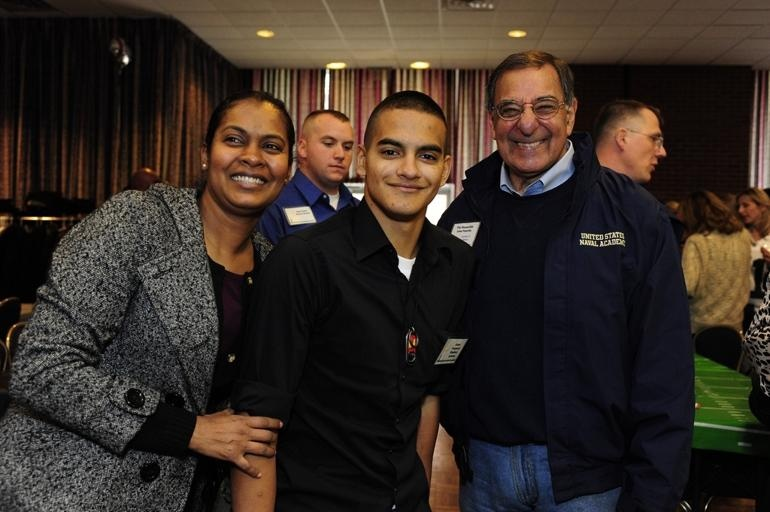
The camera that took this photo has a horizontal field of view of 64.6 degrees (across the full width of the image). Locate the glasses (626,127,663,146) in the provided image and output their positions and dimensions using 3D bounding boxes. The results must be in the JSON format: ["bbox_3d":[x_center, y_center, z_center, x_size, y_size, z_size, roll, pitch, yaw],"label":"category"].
[{"bbox_3d":[1.587,-0.738,3.742,0.145,0.045,0.150,11,2,32],"label":"glasses"}]
